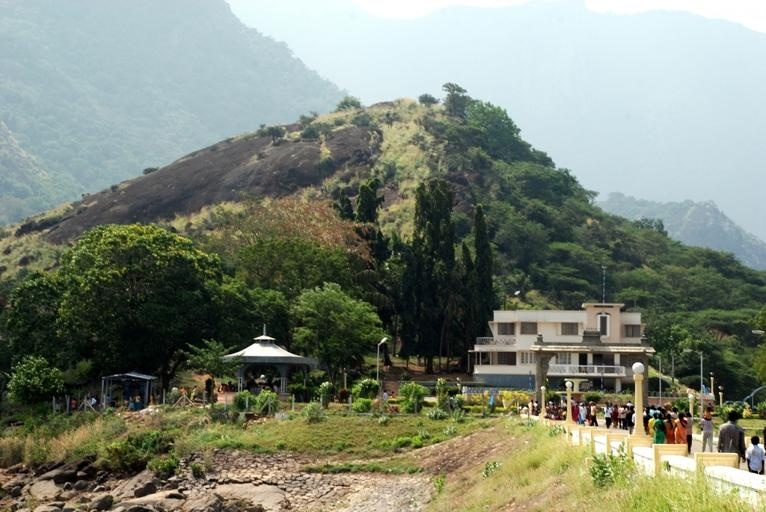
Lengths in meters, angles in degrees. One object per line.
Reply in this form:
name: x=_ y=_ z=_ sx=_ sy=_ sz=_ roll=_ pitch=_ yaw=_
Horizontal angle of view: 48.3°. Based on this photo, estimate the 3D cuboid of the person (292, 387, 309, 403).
person: x=-8.302 y=13.755 z=86.066 sx=1.794 sy=1.523 sz=0.569 roll=4 pitch=-12 yaw=-6
